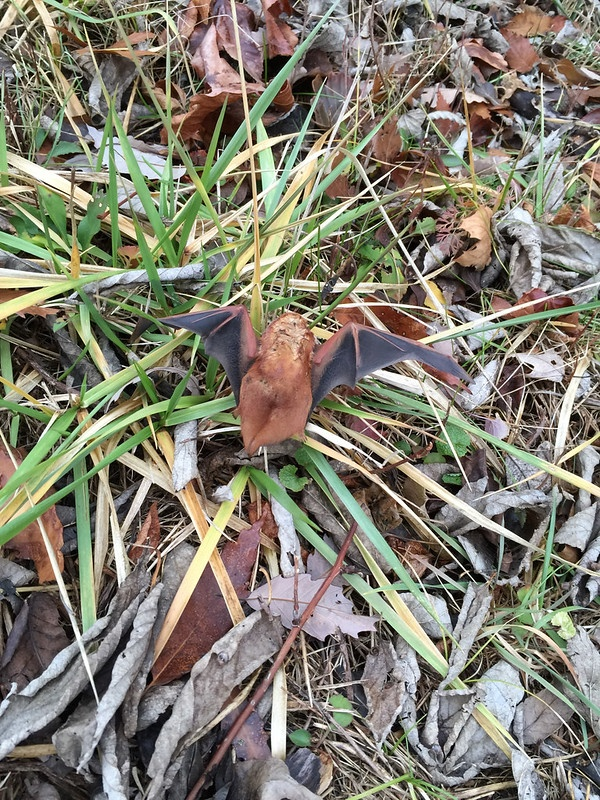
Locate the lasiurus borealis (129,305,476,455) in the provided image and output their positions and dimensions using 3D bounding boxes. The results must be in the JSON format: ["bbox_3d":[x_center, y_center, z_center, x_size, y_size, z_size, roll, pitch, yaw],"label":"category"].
[{"bbox_3d":[-0.004,-0.090,1.844,0.779,0.219,0.371,5,98,-9],"label":"lasiurus borealis"}]
